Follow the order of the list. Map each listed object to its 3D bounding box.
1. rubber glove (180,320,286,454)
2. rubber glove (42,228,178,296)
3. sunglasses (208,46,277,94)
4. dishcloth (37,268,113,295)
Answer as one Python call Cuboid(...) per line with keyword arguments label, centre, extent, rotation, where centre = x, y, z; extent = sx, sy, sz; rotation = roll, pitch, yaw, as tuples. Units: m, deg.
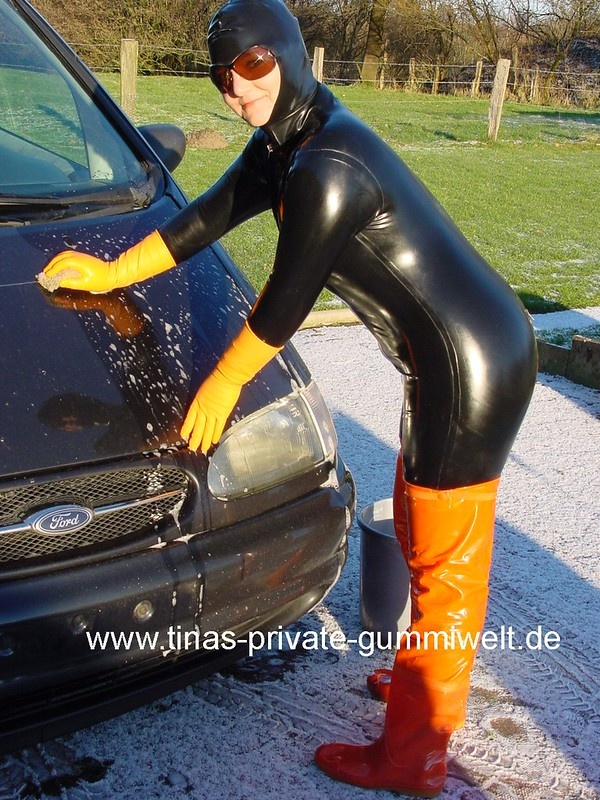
Cuboid(label="rubber glove", centre=(-0.184, 0.003, 1.411), extent=(0.116, 0.375, 0.108), rotation=(43, 31, 17))
Cuboid(label="rubber glove", centre=(-0.449, -0.337, 1.661), extent=(0.380, 0.134, 0.118), rotation=(-18, 52, -17))
Cuboid(label="sunglasses", centre=(-0.093, -0.588, 1.219), extent=(0.085, 0.035, 0.085), rotation=(-18, 6, 20))
Cuboid(label="dishcloth", centre=(-0.528, -0.291, 1.571), extent=(0.128, 0.038, 0.076), rotation=(-9, 57, -33))
